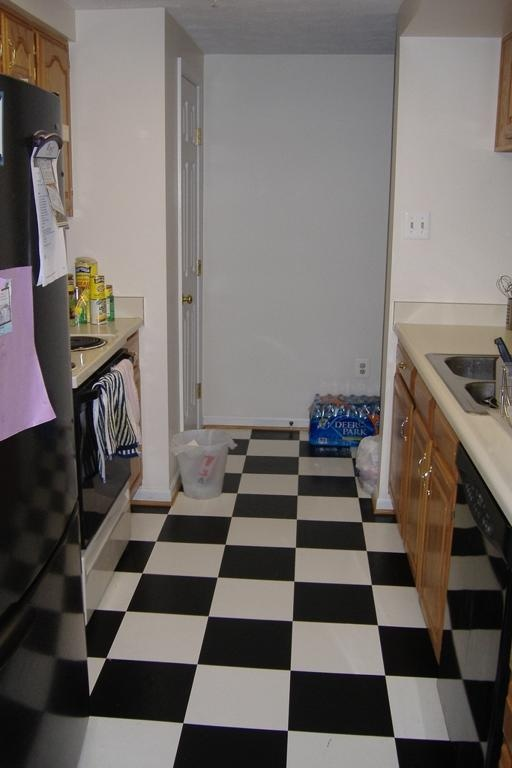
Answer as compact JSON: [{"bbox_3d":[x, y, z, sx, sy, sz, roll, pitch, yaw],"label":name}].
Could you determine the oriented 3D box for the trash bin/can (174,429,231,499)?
[{"bbox_3d":[-0.262,0.393,2.693,0.260,0.283,0.295,5,8,25],"label":"trash bin/can"}]

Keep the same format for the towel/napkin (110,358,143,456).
[{"bbox_3d":[-0.457,0.074,1.974,0.063,0.312,0.205,-4,4,2],"label":"towel/napkin"}]

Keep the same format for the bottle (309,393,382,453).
[{"bbox_3d":[0.539,0.216,3.452,0.358,0.327,0.309,0,12,4],"label":"bottle"}]
